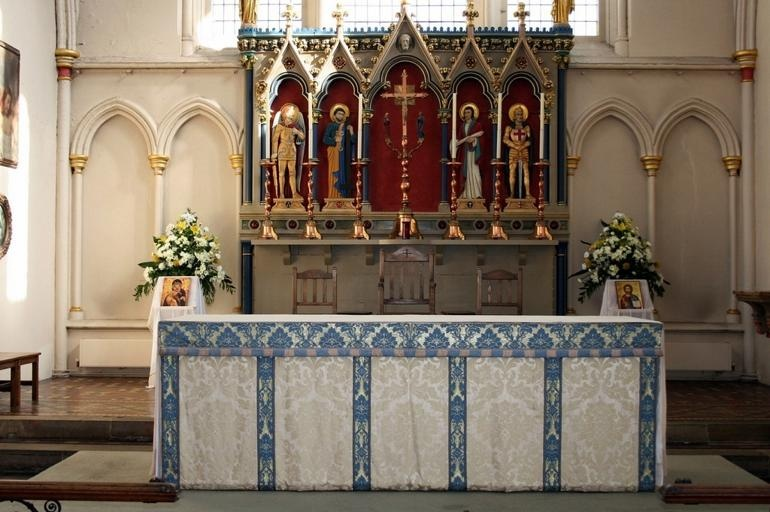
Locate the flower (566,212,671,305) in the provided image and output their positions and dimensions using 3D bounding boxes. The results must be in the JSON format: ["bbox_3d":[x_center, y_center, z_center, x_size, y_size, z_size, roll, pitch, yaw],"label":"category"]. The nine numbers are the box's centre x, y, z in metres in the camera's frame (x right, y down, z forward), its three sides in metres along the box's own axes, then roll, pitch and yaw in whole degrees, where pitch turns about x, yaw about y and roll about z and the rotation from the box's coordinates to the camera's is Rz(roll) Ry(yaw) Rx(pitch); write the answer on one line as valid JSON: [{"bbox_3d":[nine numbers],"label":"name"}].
[{"bbox_3d":[3.167,0.018,16.476,1.166,1.245,1.024,-1,1,8],"label":"flower"}]

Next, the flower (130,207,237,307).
[{"bbox_3d":[-2.699,-0.013,16.382,0.962,1.281,1.220,0,2,40],"label":"flower"}]

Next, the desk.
[{"bbox_3d":[0.283,1.595,13.711,5.498,1.883,1.133,0,-2,0],"label":"desk"}]
